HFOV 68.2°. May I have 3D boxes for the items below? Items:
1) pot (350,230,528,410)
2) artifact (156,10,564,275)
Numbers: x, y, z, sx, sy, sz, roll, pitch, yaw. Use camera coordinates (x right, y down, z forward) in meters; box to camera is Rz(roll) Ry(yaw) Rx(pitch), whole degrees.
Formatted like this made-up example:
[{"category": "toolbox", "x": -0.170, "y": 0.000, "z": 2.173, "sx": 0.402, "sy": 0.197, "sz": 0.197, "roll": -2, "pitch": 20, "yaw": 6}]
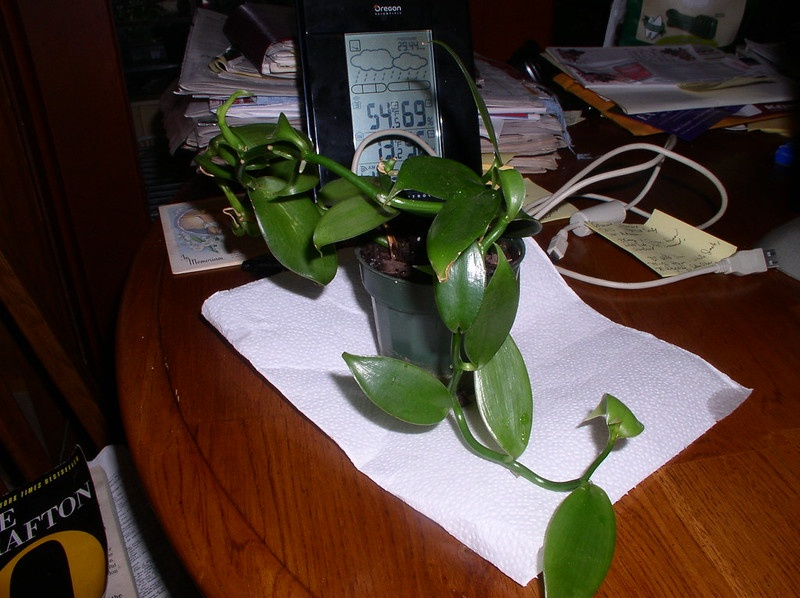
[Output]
[{"category": "pot", "x": 0.043, "y": 0.007, "z": 0.645, "sx": 0.154, "sy": 0.157, "sz": 0.147, "roll": 1, "pitch": 38, "yaw": -1}, {"category": "artifact", "x": -0.142, "y": -0.251, "z": 1.081, "sx": 0.476, "sy": 0.133, "sz": 0.550, "roll": 1, "pitch": 76, "yaw": -13}]
